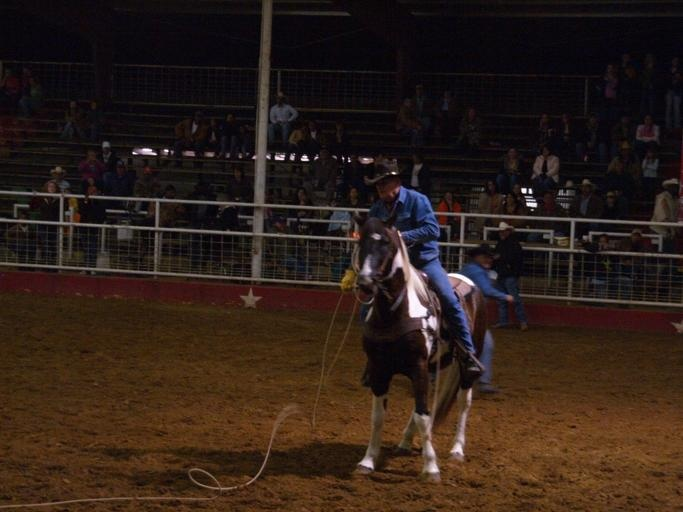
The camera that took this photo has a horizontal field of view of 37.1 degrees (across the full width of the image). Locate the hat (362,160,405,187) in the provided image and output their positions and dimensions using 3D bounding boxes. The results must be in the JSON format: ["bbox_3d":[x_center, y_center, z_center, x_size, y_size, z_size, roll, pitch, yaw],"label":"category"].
[{"bbox_3d":[0.597,-1.241,14.975,0.369,0.357,0.678,3,1,-14],"label":"hat"}]

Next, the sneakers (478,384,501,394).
[{"bbox_3d":[2.523,2.279,17.241,0.360,0.157,0.134,-1,4,5],"label":"sneakers"}]
